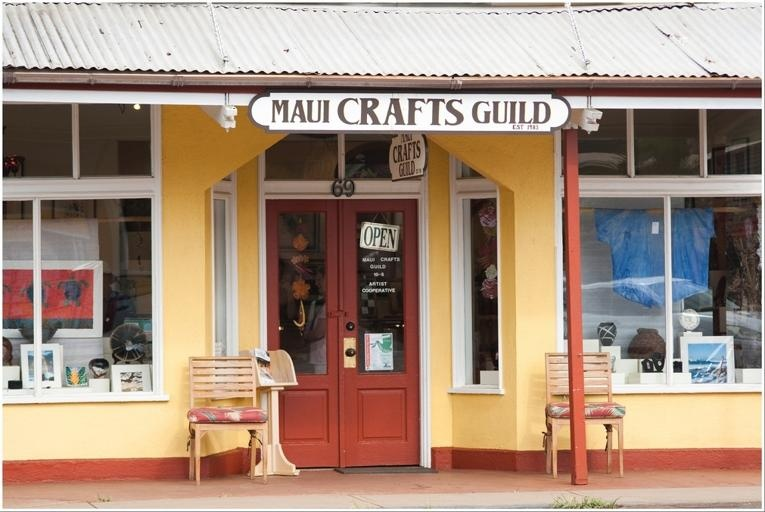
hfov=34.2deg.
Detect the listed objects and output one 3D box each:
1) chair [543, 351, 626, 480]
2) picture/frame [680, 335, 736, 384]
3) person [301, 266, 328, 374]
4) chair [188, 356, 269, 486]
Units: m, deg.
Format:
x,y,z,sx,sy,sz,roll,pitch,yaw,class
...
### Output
x,y,z,sx,sy,sz,roll,pitch,yaw,class
2.421,1.873,14.908,0.927,1.428,1.074,-1,-4,9,chair
4.035,1.316,15.512,0.607,0.547,0.039,2,-8,-7,picture/frame
-0.803,0.874,15.964,0.284,1.151,0.403,-10,-27,-1,person
-1.859,1.936,14.876,0.968,1.468,0.903,-1,-5,-7,chair
